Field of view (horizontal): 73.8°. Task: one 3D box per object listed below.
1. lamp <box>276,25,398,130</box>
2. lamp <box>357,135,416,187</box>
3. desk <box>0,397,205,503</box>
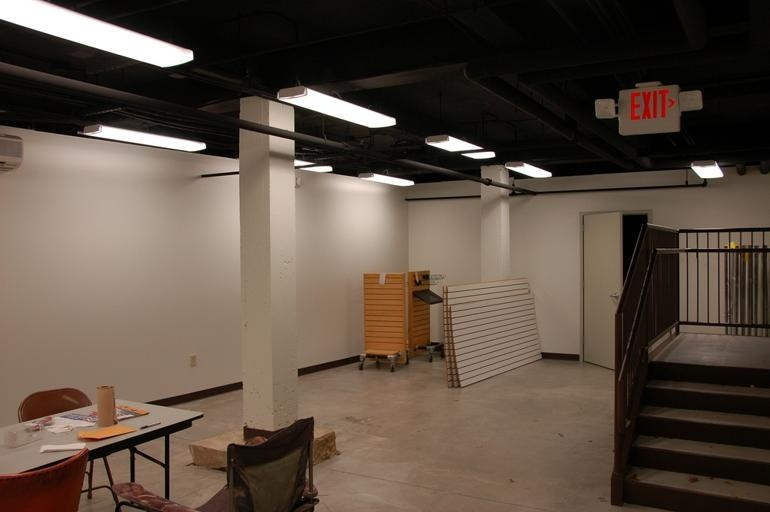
[{"bbox_3d":[-0.577,-1.856,5.908,1.688,0.168,0.524,9,-23,-39],"label":"lamp"},{"bbox_3d":[0.083,-1.800,11.509,1.047,0.422,2.789,0,3,5],"label":"lamp"},{"bbox_3d":[-2.725,1.638,4.656,1.206,0.751,1.586,-1,-1,29],"label":"desk"}]
